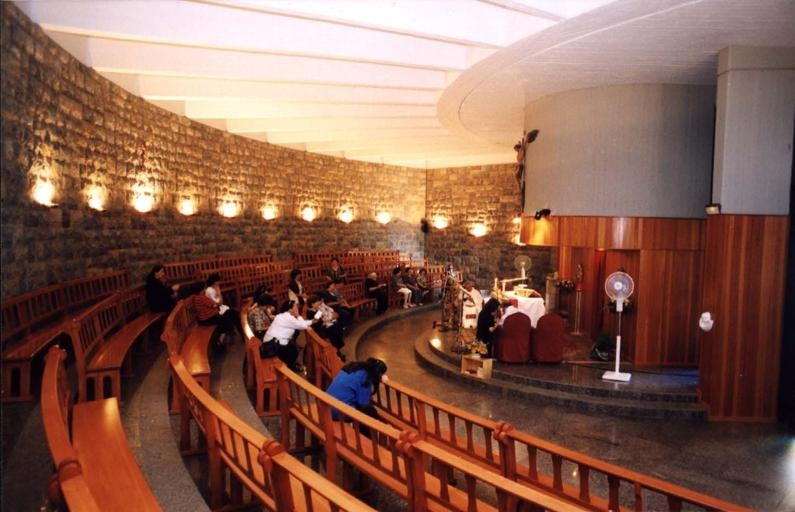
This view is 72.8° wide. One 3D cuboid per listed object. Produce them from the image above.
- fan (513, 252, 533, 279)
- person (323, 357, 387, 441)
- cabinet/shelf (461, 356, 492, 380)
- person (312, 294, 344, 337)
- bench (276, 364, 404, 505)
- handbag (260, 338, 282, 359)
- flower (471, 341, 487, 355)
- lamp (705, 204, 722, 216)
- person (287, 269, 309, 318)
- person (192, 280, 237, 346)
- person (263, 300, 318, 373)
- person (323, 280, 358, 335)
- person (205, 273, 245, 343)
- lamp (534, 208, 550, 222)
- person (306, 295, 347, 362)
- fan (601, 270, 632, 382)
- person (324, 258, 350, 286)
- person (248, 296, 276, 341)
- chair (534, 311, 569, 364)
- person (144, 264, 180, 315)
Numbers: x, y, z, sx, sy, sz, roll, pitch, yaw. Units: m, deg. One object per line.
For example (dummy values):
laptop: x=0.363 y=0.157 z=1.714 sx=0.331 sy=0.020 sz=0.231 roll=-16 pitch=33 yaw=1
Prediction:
fan: x=4.062 y=0.255 z=17.291 sx=0.609 sy=0.638 sz=0.702 roll=-17 pitch=4 yaw=7
person: x=-0.520 y=2.049 z=7.703 sx=0.940 sy=1.315 sz=0.593 roll=12 pitch=10 yaw=-19
cabinet/shelf: x=1.527 y=2.086 z=10.346 sx=0.362 sy=0.481 sz=0.651 roll=6 pitch=-4 yaw=-33
person: x=-1.434 y=1.245 z=11.181 sx=0.341 sy=0.396 sz=1.016 roll=-31 pitch=-16 yaw=-2
bench: x=-0.724 y=2.303 z=6.920 sx=0.620 sy=0.804 sz=1.427 roll=-14 pitch=29 yaw=-40
handbag: x=-2.091 y=1.567 z=9.163 sx=0.329 sy=0.319 sz=0.240 roll=-7 pitch=-7 yaw=26
flower: x=1.584 y=1.758 z=10.391 sx=0.270 sy=0.163 sz=0.266 roll=5 pitch=1 yaw=-41
lamp: x=5.348 y=-0.782 z=9.180 sx=0.117 sy=0.204 sz=0.311 roll=-1 pitch=2 yaw=-5
person: x=-2.295 y=0.840 z=12.564 sx=0.552 sy=1.065 sz=0.447 roll=9 pitch=16 yaw=17
person: x=-3.548 y=1.029 z=10.616 sx=0.726 sy=1.339 sz=0.850 roll=14 pitch=22 yaw=43
person: x=-1.905 y=1.420 z=9.742 sx=1.052 sy=1.355 sz=0.561 roll=-15 pitch=36 yaw=-38
person: x=-1.405 y=1.140 z=13.018 sx=0.636 sy=1.184 sz=0.463 roll=3 pitch=24 yaw=11
person: x=-3.445 y=1.006 z=10.672 sx=0.748 sy=1.401 sz=0.584 roll=-6 pitch=19 yaw=-7
lamp: x=3.117 y=-0.900 z=11.688 sx=0.159 sy=0.262 sz=0.466 roll=-1 pitch=2 yaw=-25
person: x=-1.380 y=1.371 z=10.957 sx=0.506 sy=1.320 sz=0.425 roll=-22 pitch=12 yaw=-17
fan: x=4.280 y=1.272 z=10.417 sx=0.518 sy=1.955 sz=1.530 roll=1 pitch=2 yaw=24
person: x=-1.718 y=0.468 z=15.370 sx=0.641 sy=0.965 sz=0.458 roll=-5 pitch=5 yaw=-12
person: x=-2.487 y=1.160 z=9.952 sx=0.442 sy=0.795 sz=0.429 roll=20 pitch=29 yaw=37
chair: x=2.959 y=1.604 z=10.556 sx=0.553 sy=0.991 sz=0.273 roll=-1 pitch=2 yaw=-7
person: x=-4.692 y=0.650 z=10.909 sx=0.682 sy=0.941 sz=0.603 roll=-3 pitch=8 yaw=10
